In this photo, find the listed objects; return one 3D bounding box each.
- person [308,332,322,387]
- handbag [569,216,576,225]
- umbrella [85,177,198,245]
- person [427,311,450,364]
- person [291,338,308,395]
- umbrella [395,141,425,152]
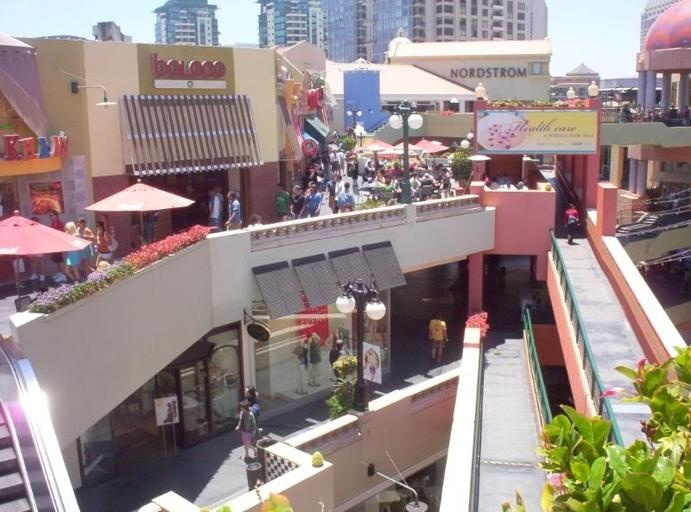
[{"bbox_3d":[-1.110,3.717,21.732,0.296,1.900,0.745,8,16,41],"label":"person"},{"bbox_3d":[8.949,-1.461,23.670,0.307,0.248,0.199,4,35,7],"label":"handbag"},{"bbox_3d":[-5.803,-1.580,17.616,1.840,1.032,1.933,-1,11,3],"label":"umbrella"},{"bbox_3d":[3.692,3.213,24.023,0.628,1.850,1.389,-1,13,7],"label":"person"},{"bbox_3d":[-1.576,3.920,21.413,0.616,1.875,0.403,-8,13,-22],"label":"person"},{"bbox_3d":[4.022,-6.589,36.217,1.547,0.787,1.596,3,12,9],"label":"umbrella"}]
